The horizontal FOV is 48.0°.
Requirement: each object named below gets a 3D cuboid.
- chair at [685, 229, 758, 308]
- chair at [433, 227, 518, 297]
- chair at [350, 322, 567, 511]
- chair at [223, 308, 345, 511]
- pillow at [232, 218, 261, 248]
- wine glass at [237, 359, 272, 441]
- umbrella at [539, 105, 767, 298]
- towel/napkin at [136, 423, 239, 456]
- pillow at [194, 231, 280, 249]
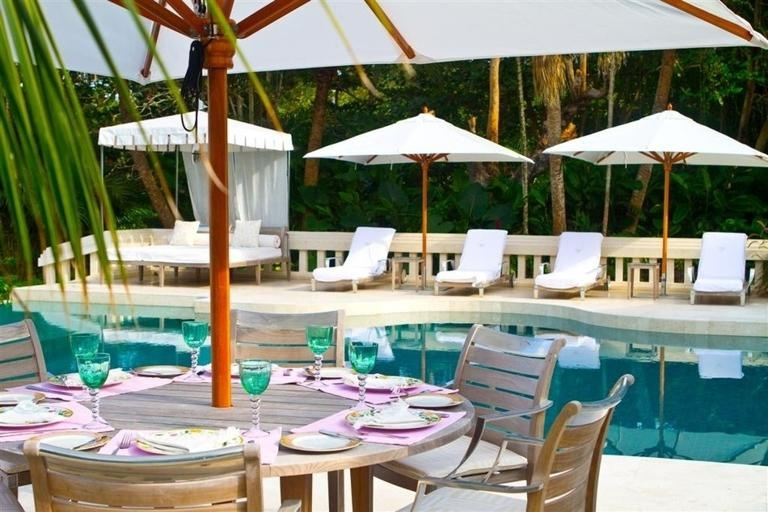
[{"bbox_3d":[4.553,0.139,11.580,0.741,0.700,1.068,1,12,22],"label":"chair"},{"bbox_3d":[1.336,0.080,12.598,0.760,0.742,1.137,1,5,23],"label":"chair"},{"bbox_3d":[0.516,0.863,4.739,0.959,1.351,0.910,3,1,-42],"label":"chair"},{"bbox_3d":[-0.628,0.811,5.361,0.831,1.575,1.006,0,-2,-4],"label":"chair"},{"bbox_3d":[-2.249,-0.380,14.200,0.426,0.459,0.140,1,-13,28],"label":"pillow"},{"bbox_3d":[-0.585,0.625,3.963,0.133,0.324,0.285,0,6,4],"label":"wine glass"},{"bbox_3d":[3.917,-0.906,12.518,2.771,2.284,3.026,-1,6,23],"label":"umbrella"},{"bbox_3d":[-0.834,0.792,3.736,0.233,0.055,0.272,0,1,10],"label":"towel/napkin"},{"bbox_3d":[-1.868,-0.221,11.607,0.833,0.148,0.167,3,27,1],"label":"pillow"}]
